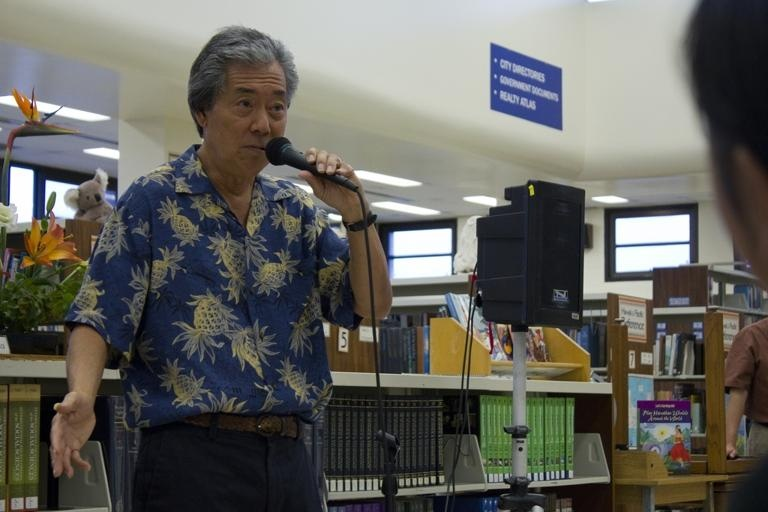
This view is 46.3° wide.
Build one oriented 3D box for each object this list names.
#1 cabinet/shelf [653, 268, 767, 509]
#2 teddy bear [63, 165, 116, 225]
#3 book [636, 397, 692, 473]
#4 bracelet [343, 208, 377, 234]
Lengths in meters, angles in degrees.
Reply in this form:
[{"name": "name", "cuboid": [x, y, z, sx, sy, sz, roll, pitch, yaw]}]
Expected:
[{"name": "cabinet/shelf", "cuboid": [1.861, 0.739, 5.177, 0.364, 1.188, 1.220, -3, -7, 19]}, {"name": "teddy bear", "cuboid": [-1.707, -0.338, 5.284, 0.268, 0.330, 0.172, -25, 32, -38]}, {"name": "book", "cuboid": [1.429, 0.917, 4.583, 0.344, 0.462, 0.057, 1, -2, -15]}, {"name": "bracelet", "cuboid": [-0.046, -0.074, 2.147, 0.054, 0.022, 0.057, -18, -15, -8]}]
